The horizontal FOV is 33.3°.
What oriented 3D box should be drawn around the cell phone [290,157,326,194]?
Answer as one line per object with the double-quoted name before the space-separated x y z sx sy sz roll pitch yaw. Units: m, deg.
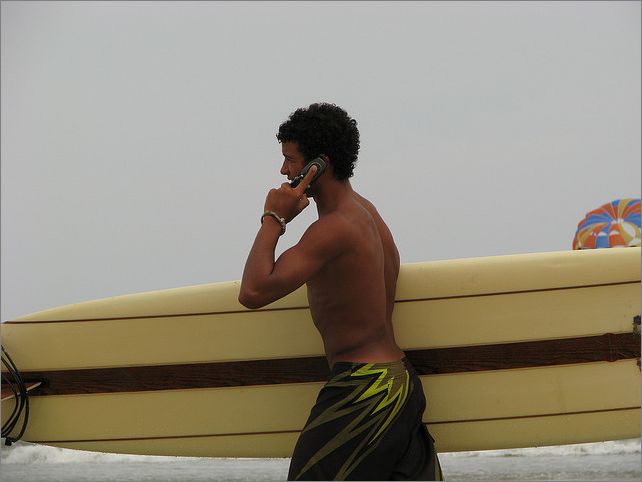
"cell phone" -0.068 -0.405 6.241 0.262 0.119 0.061 -50 32 -3
